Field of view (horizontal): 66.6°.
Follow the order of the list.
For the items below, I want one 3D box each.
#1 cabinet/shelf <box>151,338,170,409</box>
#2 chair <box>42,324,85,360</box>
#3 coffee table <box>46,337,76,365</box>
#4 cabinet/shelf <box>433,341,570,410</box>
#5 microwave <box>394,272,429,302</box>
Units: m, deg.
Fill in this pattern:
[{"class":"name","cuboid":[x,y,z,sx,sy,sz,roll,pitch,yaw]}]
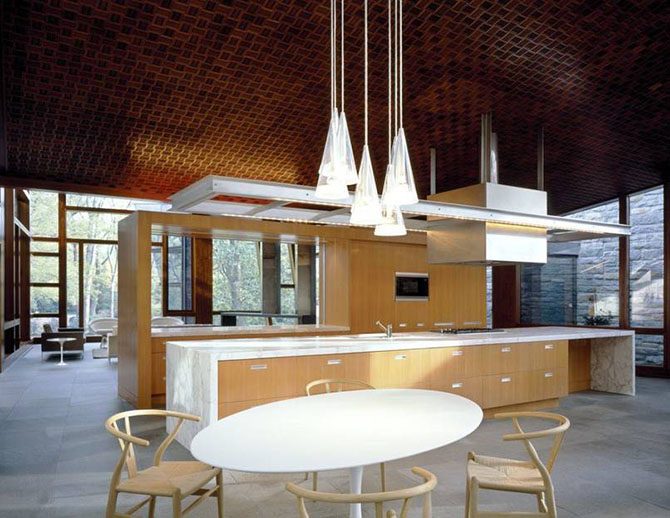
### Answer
[{"class":"cabinet/shelf","cuboid":[-2.347,1.510,6.788,0.200,0.934,0.284,-1,-3,-19]},{"class":"chair","cuboid":[-6.113,1.842,11.408,0.804,0.607,1.381,1,-2,-27]},{"class":"coffee table","cuboid":[-5.931,1.967,11.153,0.622,0.519,0.603,0,0,-40]},{"class":"cabinet/shelf","cuboid":[1.974,1.382,6.143,1.188,0.455,0.319,0,1,-26]},{"class":"microwave","cuboid":[1.299,0.542,9.085,0.839,0.505,0.466,3,-7,-25]}]
